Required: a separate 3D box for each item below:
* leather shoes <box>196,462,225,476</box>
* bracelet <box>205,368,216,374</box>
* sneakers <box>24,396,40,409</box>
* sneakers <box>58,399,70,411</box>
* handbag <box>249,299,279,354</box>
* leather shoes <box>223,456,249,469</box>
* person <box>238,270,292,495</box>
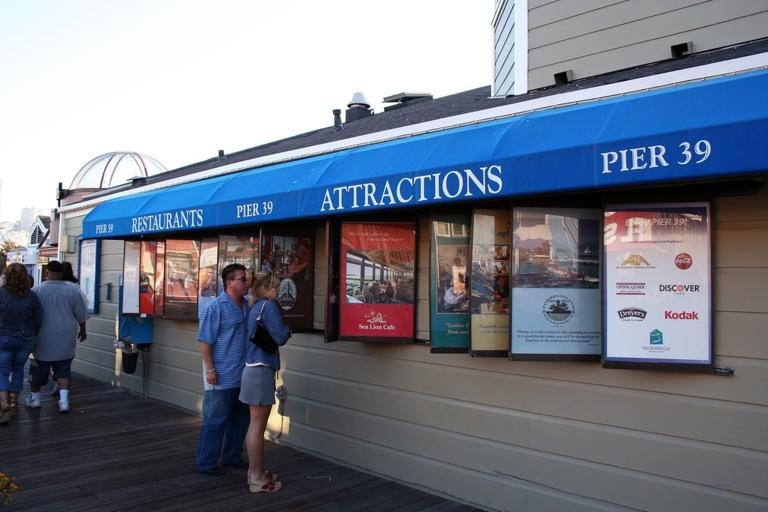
[{"bbox_3d":[-2.111,2.593,7.397,0.287,0.121,0.137,-2,0,7],"label":"leather shoes"},{"bbox_3d":[-2.052,1.353,7.207,0.115,0.054,0.065,0,3,-23],"label":"bracelet"},{"bbox_3d":[-5.624,2.310,9.754,0.147,0.178,0.406,-1,3,-31],"label":"sneakers"},{"bbox_3d":[-4.980,2.324,9.472,0.111,0.121,0.280,1,1,-19],"label":"sneakers"},{"bbox_3d":[-1.353,0.813,6.869,0.401,0.686,0.099,25,-39,-33],"label":"handbag"},{"bbox_3d":[-1.837,2.586,7.650,0.351,0.143,0.118,-1,1,-3],"label":"leather shoes"},{"bbox_3d":[-1.372,1.449,6.977,0.538,2.500,0.403,1,2,-13],"label":"person"}]
